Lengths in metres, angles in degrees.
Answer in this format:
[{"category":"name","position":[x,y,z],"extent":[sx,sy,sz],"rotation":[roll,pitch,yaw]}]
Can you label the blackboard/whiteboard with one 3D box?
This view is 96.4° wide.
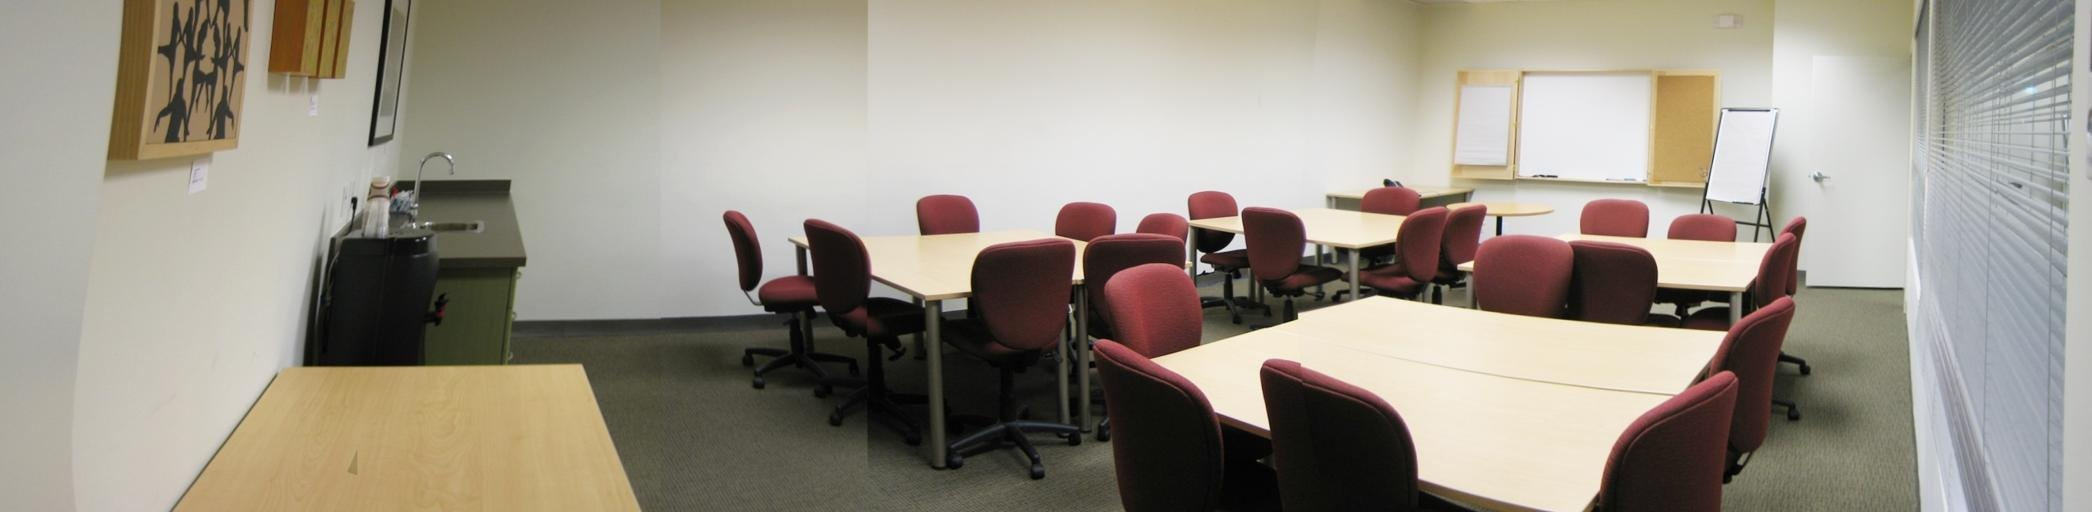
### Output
[{"category":"blackboard/whiteboard","position":[5.039,-1.214,8.711],"extent":[2.142,0.601,0.158],"rotation":[1,6,5]}]
